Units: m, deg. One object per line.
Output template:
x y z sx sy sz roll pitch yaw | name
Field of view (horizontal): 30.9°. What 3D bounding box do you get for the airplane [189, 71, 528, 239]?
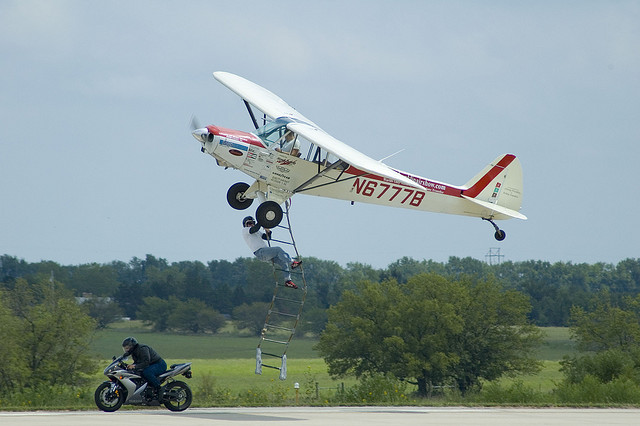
3.928 -4.067 110.922 19.744 6.159 23.024 9 7 -8 | airplane
